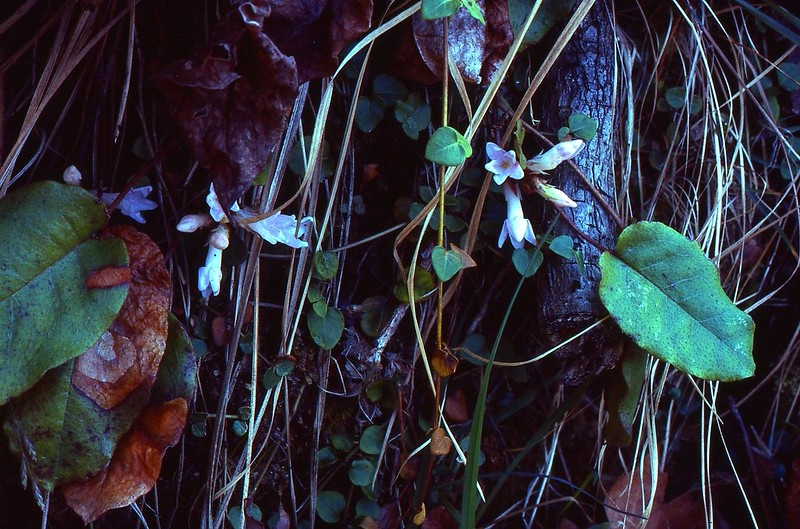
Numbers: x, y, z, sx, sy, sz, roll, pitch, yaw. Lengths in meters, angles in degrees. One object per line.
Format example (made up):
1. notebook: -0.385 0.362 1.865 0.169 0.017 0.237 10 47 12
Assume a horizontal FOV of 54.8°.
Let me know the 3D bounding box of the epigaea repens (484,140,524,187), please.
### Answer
1. epigaea repens: 0.277 -0.271 2.075 0.105 0.094 0.058 31 19 -2

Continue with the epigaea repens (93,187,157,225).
1. epigaea repens: -0.747 -0.174 2.113 0.111 0.115 0.148 -10 13 -44

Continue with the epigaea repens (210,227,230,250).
1. epigaea repens: -0.491 -0.071 2.089 0.053 0.042 0.033 4 2 -27

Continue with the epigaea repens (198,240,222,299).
1. epigaea repens: -0.517 0.026 2.124 0.052 0.170 0.062 6 -7 -7

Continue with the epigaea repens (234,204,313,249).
1. epigaea repens: -0.345 -0.125 2.069 0.157 0.150 0.143 -9 20 -30

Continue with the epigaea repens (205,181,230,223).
1. epigaea repens: -0.496 -0.163 2.075 0.059 0.121 0.025 -19 5 30

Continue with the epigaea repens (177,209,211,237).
1. epigaea repens: -0.562 -0.107 2.091 0.089 0.059 0.029 -20 26 -40
